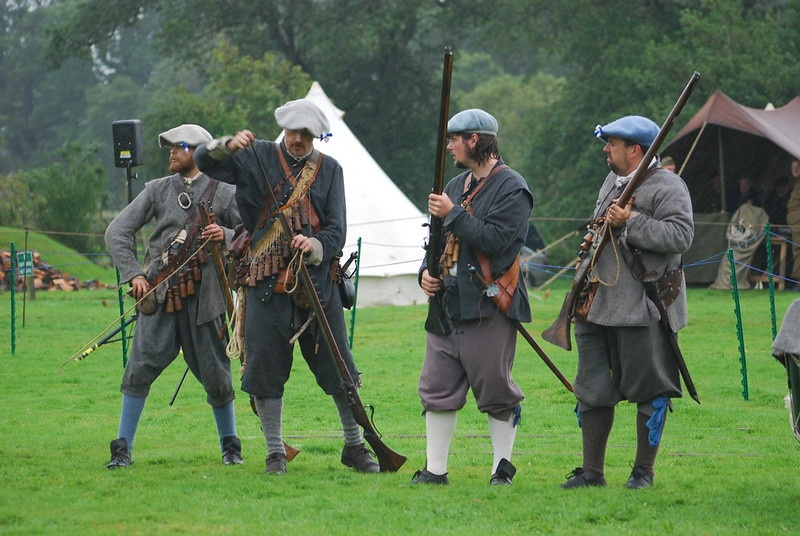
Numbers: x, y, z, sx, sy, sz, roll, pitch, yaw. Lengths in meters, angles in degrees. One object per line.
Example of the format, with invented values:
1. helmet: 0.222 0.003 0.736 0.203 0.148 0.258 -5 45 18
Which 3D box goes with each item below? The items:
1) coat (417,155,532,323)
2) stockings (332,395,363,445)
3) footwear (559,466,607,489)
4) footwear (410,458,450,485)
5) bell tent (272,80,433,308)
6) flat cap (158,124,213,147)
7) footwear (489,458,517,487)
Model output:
1. coat: 1.755 -0.584 37.198 2.349 3.318 2.592 4 -7 -33
2. stockings: -1.192 3.390 37.091 0.396 1.466 0.413 -14 5 17
3. footwear: 4.055 4.620 36.599 1.142 0.433 0.393 2 -9 0
4. footwear: 0.634 4.559 36.496 0.939 0.618 0.329 2 -5 7
5. bell tent: -0.766 -2.300 50.240 6.734 6.490 6.116 -2 -2 -2
6. flat cap: -4.934 -3.027 37.251 0.898 0.312 0.625 -3 3 -22
7. footwear: 2.241 4.465 36.446 0.520 0.568 0.191 0 0 2
